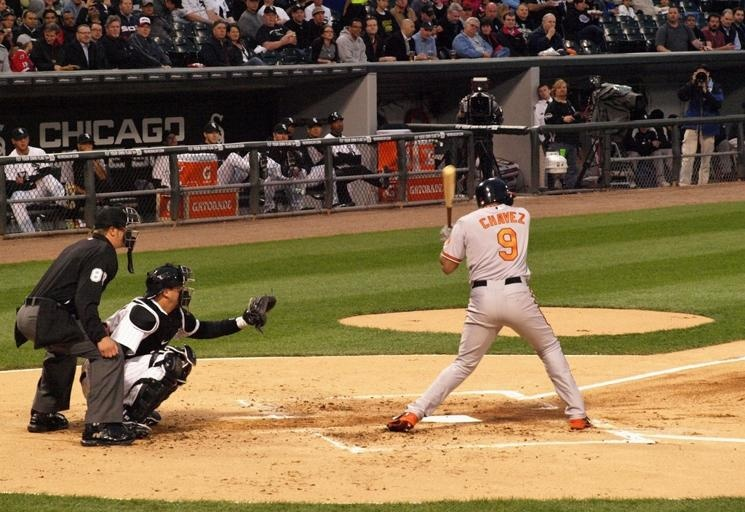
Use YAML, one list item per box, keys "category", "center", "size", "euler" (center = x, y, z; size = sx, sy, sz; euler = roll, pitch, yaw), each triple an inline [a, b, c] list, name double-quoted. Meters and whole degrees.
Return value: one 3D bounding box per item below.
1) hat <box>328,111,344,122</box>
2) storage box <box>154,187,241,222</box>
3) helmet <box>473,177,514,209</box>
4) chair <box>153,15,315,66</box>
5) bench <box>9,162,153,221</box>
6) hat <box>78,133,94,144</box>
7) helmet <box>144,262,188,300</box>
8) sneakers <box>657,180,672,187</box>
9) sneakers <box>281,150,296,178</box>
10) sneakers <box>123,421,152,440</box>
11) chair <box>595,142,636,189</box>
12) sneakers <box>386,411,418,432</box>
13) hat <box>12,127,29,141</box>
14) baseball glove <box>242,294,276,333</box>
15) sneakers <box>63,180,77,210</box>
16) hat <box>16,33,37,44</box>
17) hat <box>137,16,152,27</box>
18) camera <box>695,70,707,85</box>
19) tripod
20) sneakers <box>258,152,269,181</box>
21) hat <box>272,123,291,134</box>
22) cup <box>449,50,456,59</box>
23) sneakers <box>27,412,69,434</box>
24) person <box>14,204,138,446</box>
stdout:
- category: "hat"
  center: [-0.698, -2.567, 24.958]
  size: [0.252, 0.159, 0.343]
  euler: [-6, -4, -37]
- category: "storage box"
  center: [-3.001, -0.874, 23.569]
  size: [1.459, 0.543, 0.207]
  euler: [-5, 7, -20]
- category: "helmet"
  center: [1.313, -0.662, 14.792]
  size: [0.308, 0.334, 0.367]
  euler: [-1, 20, 46]
- category: "chair"
  center: [-2.788, -4.073, 25.718]
  size: [2.637, 1.034, 1.408]
  euler: [-4, 6, -11]
- category: "bench"
  center: [-4.801, -1.057, 21.882]
  size: [1.273, 0.686, 0.425]
  euler: [-4, 20, -12]
- category: "hat"
  center: [-4.891, -2.019, 23.214]
  size: [0.233, 0.150, 0.303]
  euler: [-1, -5, -29]
- category: "helmet"
  center: [-2.187, 0.230, 14.540]
  size: [0.592, 0.307, 0.429]
  euler: [-15, 12, -26]
- category: "sneakers"
  center: [5.781, -1.430, 26.953]
  size: [0.266, 0.105, 0.106]
  euler: [0, 4, 30]
- category: "sneakers"
  center: [-1.478, -1.619, 23.946]
  size: [0.263, 0.421, 0.230]
  euler: [14, 16, 39]
- category: "sneakers"
  center: [-2.459, 1.823, 14.386]
  size: [0.334, 0.136, 0.120]
  euler: [31, -9, -5]
- category: "chair"
  center: [4.787, -1.753, 26.503]
  size: [0.916, 1.178, 0.862]
  euler: [0, 9, 2]
- category: "sneakers"
  center: [0.322, 1.783, 14.463]
  size: [0.320, 0.181, 0.134]
  euler: [-26, 45, 15]
- category: "hat"
  center: [-5.842, -2.055, 22.625]
  size: [0.273, 0.194, 0.372]
  euler: [-11, 0, -29]
- category: "baseball glove"
  center: [-1.282, 0.621, 14.743]
  size: [0.395, 0.345, 0.218]
  euler: [0, 3, -14]
- category: "sneakers"
  center: [-4.984, -1.012, 22.578]
  size: [0.164, 0.373, 0.228]
  euler: [0, 2, -37]
- category: "hat"
  center: [-5.982, -3.720, 23.591]
  size: [0.265, 0.233, 0.383]
  euler: [-7, 7, -28]
- category: "hat"
  center: [-4.081, -4.208, 24.496]
  size: [0.194, 0.136, 0.257]
  euler: [0, 12, -13]
- category: "camera"
  center: [6.478, -3.515, 26.844]
  size: [0.207, 0.173, 0.194]
  euler: [-2, 7, -5]
- category: "tripod"
  center: [4.533, -1.827, 26.846]
  size: [1.286, 0.997, 0.862]
  euler: [-5, 12, -24]
- category: "sneakers"
  center: [-1.896, -1.568, 23.785]
  size: [0.179, 0.498, 0.104]
  euler: [-7, 7, -26]
- category: "hat"
  center: [-1.650, -2.287, 24.524]
  size: [0.201, 0.129, 0.264]
  euler: [-3, -3, -31]
- category: "cup"
  center: [1.630, -4.098, 27.799]
  size: [0.183, 0.262, 0.173]
  euler: [-1, 3, 0]
- category: "sneakers"
  center: [-3.463, 1.749, 14.612]
  size: [0.388, 0.245, 0.195]
  euler: [-9, 21, -27]
- category: "person"
  center: [-3.072, 0.737, 14.327]
  size: [1.232, 2.441, 0.644]
  euler: [-4, 7, -1]
